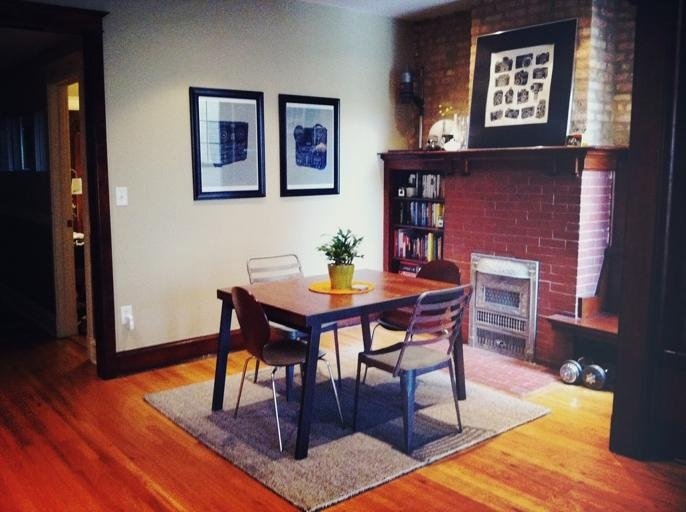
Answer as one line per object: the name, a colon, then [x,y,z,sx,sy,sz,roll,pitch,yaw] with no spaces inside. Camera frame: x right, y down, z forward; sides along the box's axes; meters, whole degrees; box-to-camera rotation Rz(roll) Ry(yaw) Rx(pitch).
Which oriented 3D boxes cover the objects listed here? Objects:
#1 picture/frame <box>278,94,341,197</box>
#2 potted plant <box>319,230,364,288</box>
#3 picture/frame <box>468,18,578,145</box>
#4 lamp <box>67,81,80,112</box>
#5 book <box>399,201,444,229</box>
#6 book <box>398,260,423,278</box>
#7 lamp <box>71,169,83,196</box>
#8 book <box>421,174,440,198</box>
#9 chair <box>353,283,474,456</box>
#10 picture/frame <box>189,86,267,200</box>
picture/frame: [-0.390,-1.201,5.429,0.937,1.341,0.061,-8,14,-35]
potted plant: [-0.044,0.020,4.384,0.457,0.552,0.387,-2,-6,31]
picture/frame: [1.723,-1.634,4.800,1.198,1.488,0.058,5,0,42]
lamp: [-4.501,-2.648,8.557,0.132,0.371,0.828,-6,13,-30]
book: [0.873,-0.489,5.838,0.102,0.293,0.679,-8,14,-37]
book: [0.778,0.150,5.913,0.292,0.178,0.277,4,-1,-30]
lamp: [-4.183,-1.113,8.046,0.124,0.461,2.597,-6,13,-27]
book: [0.970,-0.779,5.725,0.060,0.253,0.285,-8,14,-37]
chair: [0.656,0.649,3.992,0.757,1.118,1.572,5,13,26]
picture/frame: [-1.139,-1.108,4.908,0.985,1.422,0.097,-4,8,-36]
